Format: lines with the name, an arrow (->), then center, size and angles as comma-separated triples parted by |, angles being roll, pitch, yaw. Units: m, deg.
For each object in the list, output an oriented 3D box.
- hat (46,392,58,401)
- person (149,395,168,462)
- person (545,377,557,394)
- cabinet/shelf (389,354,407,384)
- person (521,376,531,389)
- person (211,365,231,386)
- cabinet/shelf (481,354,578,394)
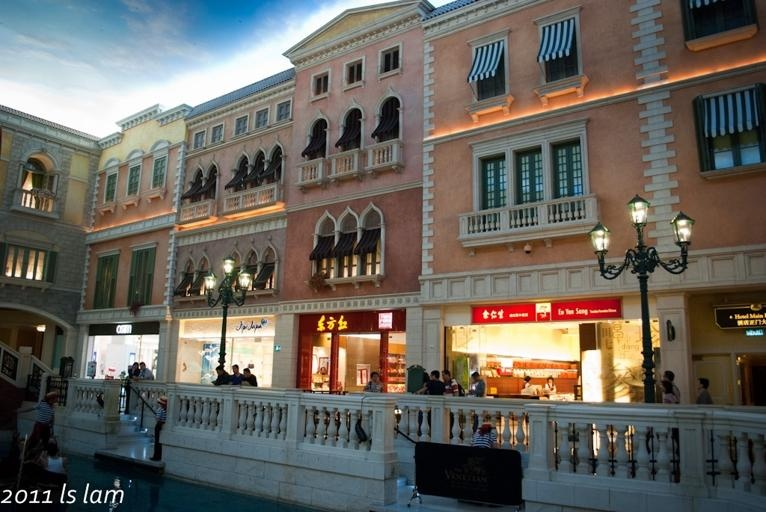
hat -> -10.048, 4.285, 20.212 | 0.249, 0.255, 0.333 | 0, -3, 0
person -> -7.118, 5.487, 21.101 | 0.333, 1.946, 0.870 | 5, -15, -18
person -> 7.004, 5.468, 27.954 | 0.490, 0.768, 0.487 | 1, -37, 5
cabinet/shelf -> 0.493, 4.620, 27.313 | 0.975, 1.228, 0.253 | 13, -19, -41
person -> 5.521, 4.891, 25.614 | 0.257, 0.492, 0.751 | -3, -14, 11
person -> -5.676, 4.208, 23.438 | 0.510, 0.684, 0.954 | 1, -14, -5
cabinet/shelf -> 6.056, 5.001, 27.637 | 6.085, 1.628, 0.666 | 11, -18, -37
